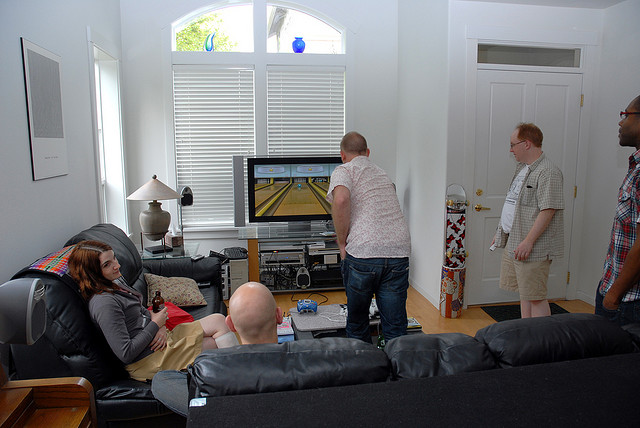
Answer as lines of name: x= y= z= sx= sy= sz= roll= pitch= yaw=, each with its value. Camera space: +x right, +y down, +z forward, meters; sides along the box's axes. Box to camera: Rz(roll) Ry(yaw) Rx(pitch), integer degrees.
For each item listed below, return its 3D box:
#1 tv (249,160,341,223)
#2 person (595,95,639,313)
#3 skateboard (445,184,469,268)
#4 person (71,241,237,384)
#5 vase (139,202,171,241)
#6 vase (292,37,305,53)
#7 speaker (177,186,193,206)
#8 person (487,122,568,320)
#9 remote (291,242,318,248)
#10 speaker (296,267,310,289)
tv: x=-0.221 y=-0.277 z=5.496 sx=1.264 sy=0.779 sz=0.666 roll=-2 pitch=-6 yaw=11
person: x=1.967 y=-0.027 z=2.878 sx=0.230 sy=1.420 sz=0.473 roll=3 pitch=11 yaw=33
skateboard: x=1.435 y=0.113 z=4.668 sx=0.239 sy=0.886 sz=0.131 roll=2 pitch=5 yaw=3
person: x=-1.032 y=0.732 z=3.199 sx=1.127 sy=1.220 sz=0.538 roll=-10 pitch=13 yaw=-20
vase: x=-1.760 y=0.076 z=4.717 sx=0.338 sy=0.409 sz=0.330 roll=-4 pitch=10 yaw=-29
vase: x=-0.280 y=-2.155 z=5.679 sx=0.186 sy=0.204 sz=0.164 roll=1 pitch=6 yaw=-5
speaker: x=-1.605 y=-0.207 z=5.256 sx=0.144 sy=0.238 sz=0.179 roll=-7 pitch=10 yaw=-20
person: x=1.741 y=0.068 z=3.722 sx=0.550 sy=1.646 sz=0.392 roll=5 pitch=13 yaw=41
remote: x=-0.189 y=0.355 z=5.190 sx=0.300 sy=0.046 sz=0.043 roll=-3 pitch=9 yaw=3
speaker: x=-0.204 y=0.764 z=5.150 sx=0.152 sy=0.277 sz=0.141 roll=-4 pitch=9 yaw=-7
